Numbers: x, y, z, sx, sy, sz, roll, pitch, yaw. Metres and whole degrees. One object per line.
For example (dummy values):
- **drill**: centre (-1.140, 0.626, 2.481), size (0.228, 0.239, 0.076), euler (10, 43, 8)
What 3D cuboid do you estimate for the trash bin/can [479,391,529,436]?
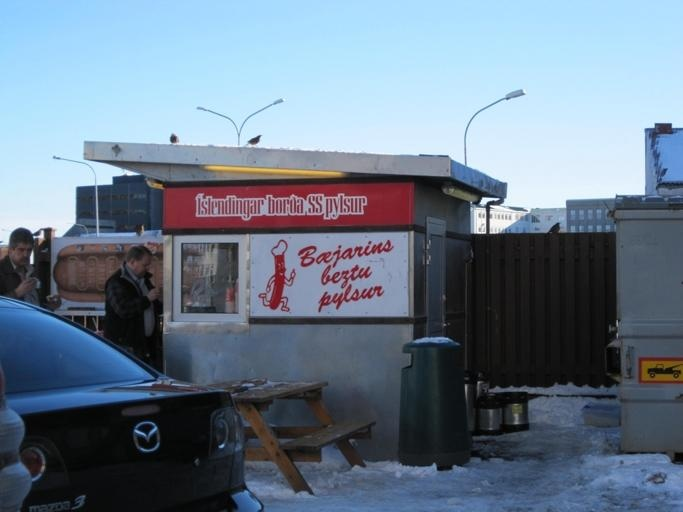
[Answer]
- **trash bin/can**: centre (1.804, 1.751, 11.722), size (0.472, 0.345, 0.496), euler (-1, -3, 16)

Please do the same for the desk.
- **desk**: centre (-0.379, 1.670, 10.884), size (1.443, 0.818, 1.692), euler (14, -13, -10)
